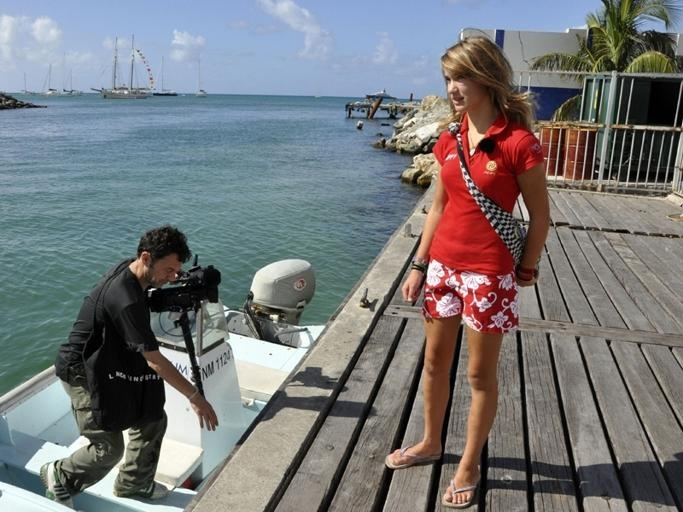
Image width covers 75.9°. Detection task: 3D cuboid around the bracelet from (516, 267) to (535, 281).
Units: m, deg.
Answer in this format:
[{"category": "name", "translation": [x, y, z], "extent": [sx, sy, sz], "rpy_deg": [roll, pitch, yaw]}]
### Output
[{"category": "bracelet", "translation": [0.952, 0.092, 2.233], "extent": [0.068, 0.041, 0.085], "rpy_deg": [-1, 11, 7]}]

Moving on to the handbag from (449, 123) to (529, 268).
[{"category": "handbag", "translation": [0.689, -0.304, 2.210], "extent": [0.372, 0.682, 0.188], "rpy_deg": [-34, 3, 9]}]

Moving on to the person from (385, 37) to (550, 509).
[{"category": "person", "translation": [0.656, 0.125, 2.247], "extent": [0.678, 2.361, 0.631], "rpy_deg": [6, 19, 23]}]

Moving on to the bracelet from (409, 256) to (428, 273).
[{"category": "bracelet", "translation": [0.447, 0.045, 2.516], "extent": [0.088, 0.057, 0.079], "rpy_deg": [22, 2, 20]}]

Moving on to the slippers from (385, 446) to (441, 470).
[{"category": "slippers", "translation": [0.416, 1.189, 2.592], "extent": [0.331, 0.082, 0.131], "rpy_deg": [-1, 12, -2]}]

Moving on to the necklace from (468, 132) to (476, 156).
[{"category": "necklace", "translation": [0.650, -0.557, 2.161], "extent": [0.020, 0.108, 0.034], "rpy_deg": [17, -3, -27]}]
